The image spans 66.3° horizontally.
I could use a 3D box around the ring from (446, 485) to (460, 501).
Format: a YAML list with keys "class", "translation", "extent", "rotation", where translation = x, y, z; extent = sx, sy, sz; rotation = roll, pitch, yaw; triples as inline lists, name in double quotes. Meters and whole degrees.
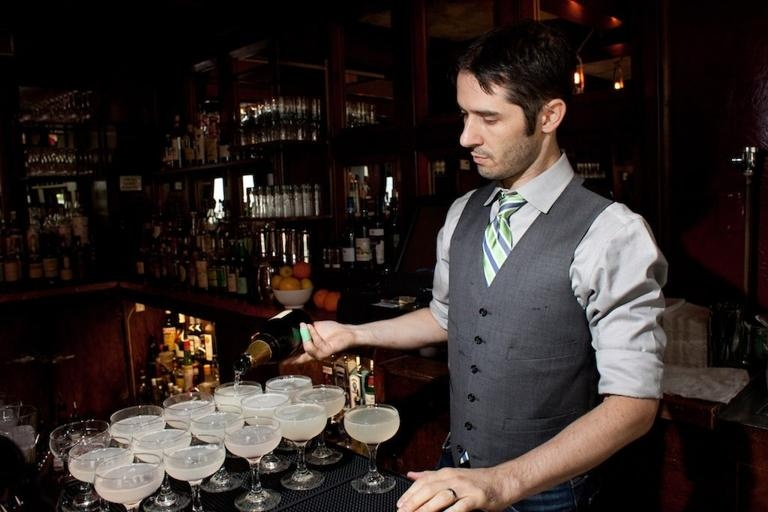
- class: "ring"
  translation: [0.212, 0.720, 1.791]
  extent: [0.031, 0.030, 0.032]
  rotation: [32, -14, 9]

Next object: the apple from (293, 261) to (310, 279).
- class: "apple"
  translation: [-0.627, 0.102, 4.429]
  extent: [0.130, 0.110, 0.118]
  rotation: [0, 5, -15]

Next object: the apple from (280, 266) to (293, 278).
- class: "apple"
  translation: [-0.746, 0.114, 4.474]
  extent: [0.078, 0.075, 0.078]
  rotation: [1, 15, 8]

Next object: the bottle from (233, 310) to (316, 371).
- class: "bottle"
  translation: [-0.443, 0.309, 2.431]
  extent: [0.126, 0.330, 0.128]
  rotation: [-17, 1, 0]

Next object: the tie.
- class: "tie"
  translation: [0.453, -0.078, 2.280]
  extent: [0.136, 0.388, 0.043]
  rotation: [6, -21, 29]
